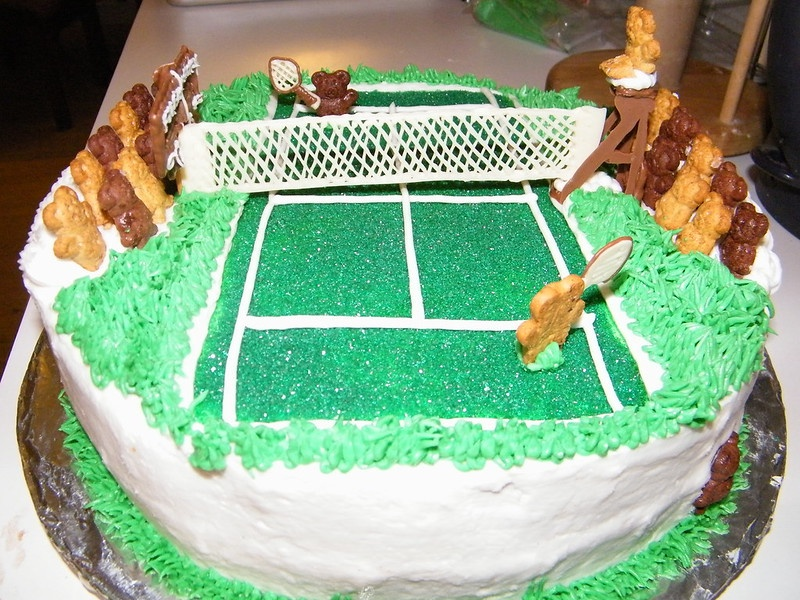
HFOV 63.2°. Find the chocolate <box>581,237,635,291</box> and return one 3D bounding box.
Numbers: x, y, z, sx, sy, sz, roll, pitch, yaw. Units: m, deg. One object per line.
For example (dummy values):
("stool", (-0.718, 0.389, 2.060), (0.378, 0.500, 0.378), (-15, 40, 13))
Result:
("chocolate", (0.930, -0.185, 3.028), (0.301, 0.171, 0.037), (-43, 39, 21))

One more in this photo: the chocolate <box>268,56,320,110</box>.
("chocolate", (-0.685, -1.376, 4.173), (0.414, 0.114, 0.204), (42, 86, -3))
